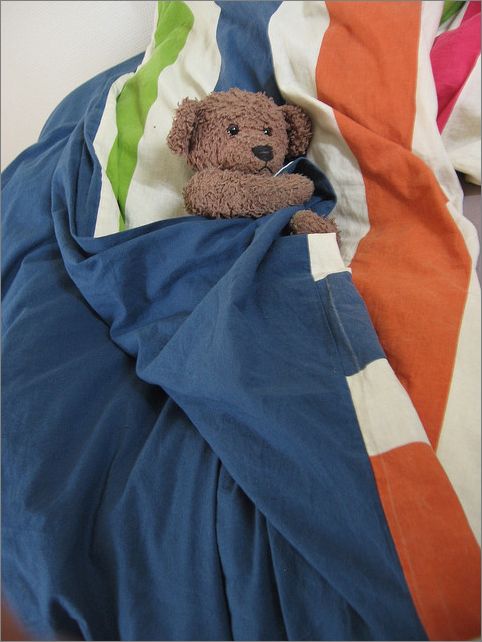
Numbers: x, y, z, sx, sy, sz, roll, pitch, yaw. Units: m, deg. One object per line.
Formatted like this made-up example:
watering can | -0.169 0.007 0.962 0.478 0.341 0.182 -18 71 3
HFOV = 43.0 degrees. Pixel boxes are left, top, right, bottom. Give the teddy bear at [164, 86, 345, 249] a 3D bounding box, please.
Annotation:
teddy bear | 0.008 -0.198 0.769 0.184 0.143 0.187 0 102 -6
